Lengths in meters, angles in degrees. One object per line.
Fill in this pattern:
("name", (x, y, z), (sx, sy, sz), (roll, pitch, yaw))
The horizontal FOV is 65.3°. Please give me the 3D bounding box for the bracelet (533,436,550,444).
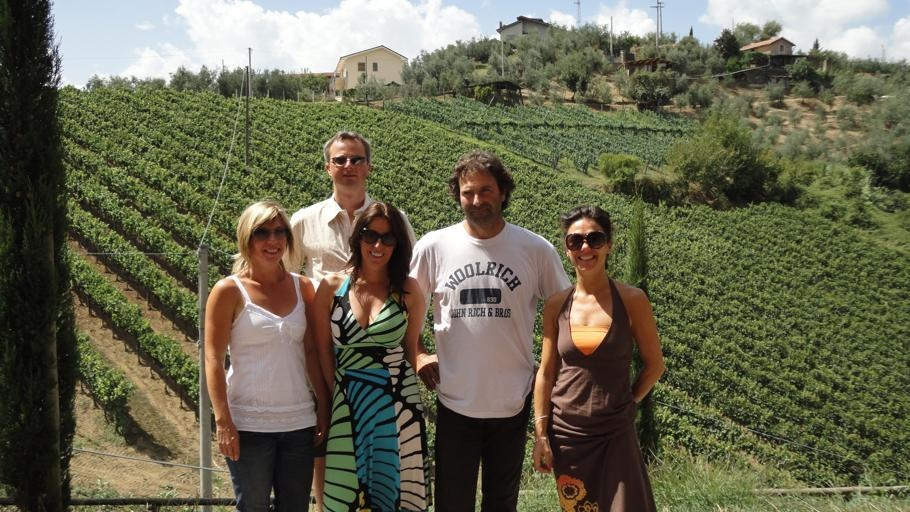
("bracelet", (1.837, 3.874, 15.043), (0.156, 0.170, 0.166), (-4, -1, 23))
